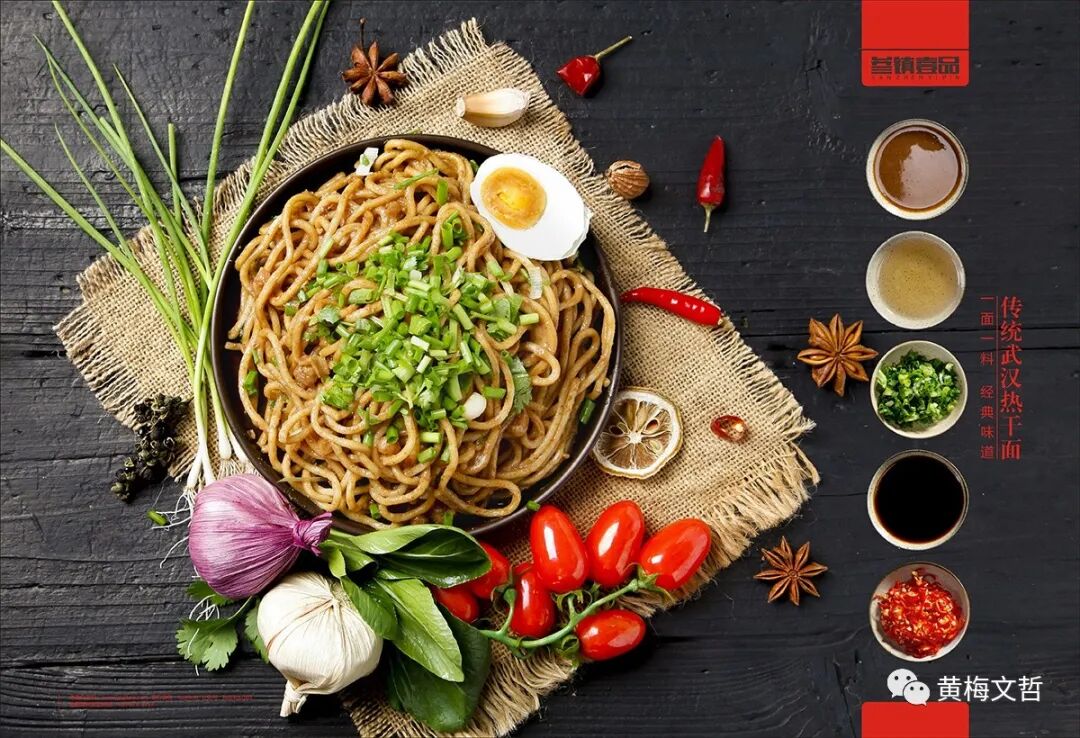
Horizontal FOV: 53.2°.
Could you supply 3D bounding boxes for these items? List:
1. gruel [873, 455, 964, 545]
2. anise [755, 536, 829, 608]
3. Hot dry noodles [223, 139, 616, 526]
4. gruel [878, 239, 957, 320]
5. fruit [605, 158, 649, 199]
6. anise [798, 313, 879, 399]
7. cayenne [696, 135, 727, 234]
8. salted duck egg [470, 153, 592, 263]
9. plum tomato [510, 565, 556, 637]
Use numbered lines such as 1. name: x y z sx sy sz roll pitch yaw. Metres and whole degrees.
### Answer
1. gruel: 1.640 0.573 4.715 0.427 0.120 0.413 -20 76 -3
2. anise: 1.077 0.890 4.687 0.281 0.093 0.277 13 76 5
3. Hot dry noodles: -0.514 -0.125 4.374 1.523 0.534 1.657 -3 88 2
4. gruel: 1.666 -0.402 4.740 0.361 0.094 0.360 9 76 5
5. fruit: 0.383 -0.833 4.693 0.166 0.113 0.158 7 89 -21
6. anise: 1.303 -0.076 4.717 0.326 0.134 0.331 20 77 7
7. cayenne: 0.755 -0.819 4.775 0.113 0.117 0.407 5 88 19
8. salted duck egg: -0.030 -0.664 4.498 0.417 0.098 0.488 -41 87 -14
9. plum tomato: -0.048 0.990 4.565 0.163 0.155 0.295 -8 87 -22
